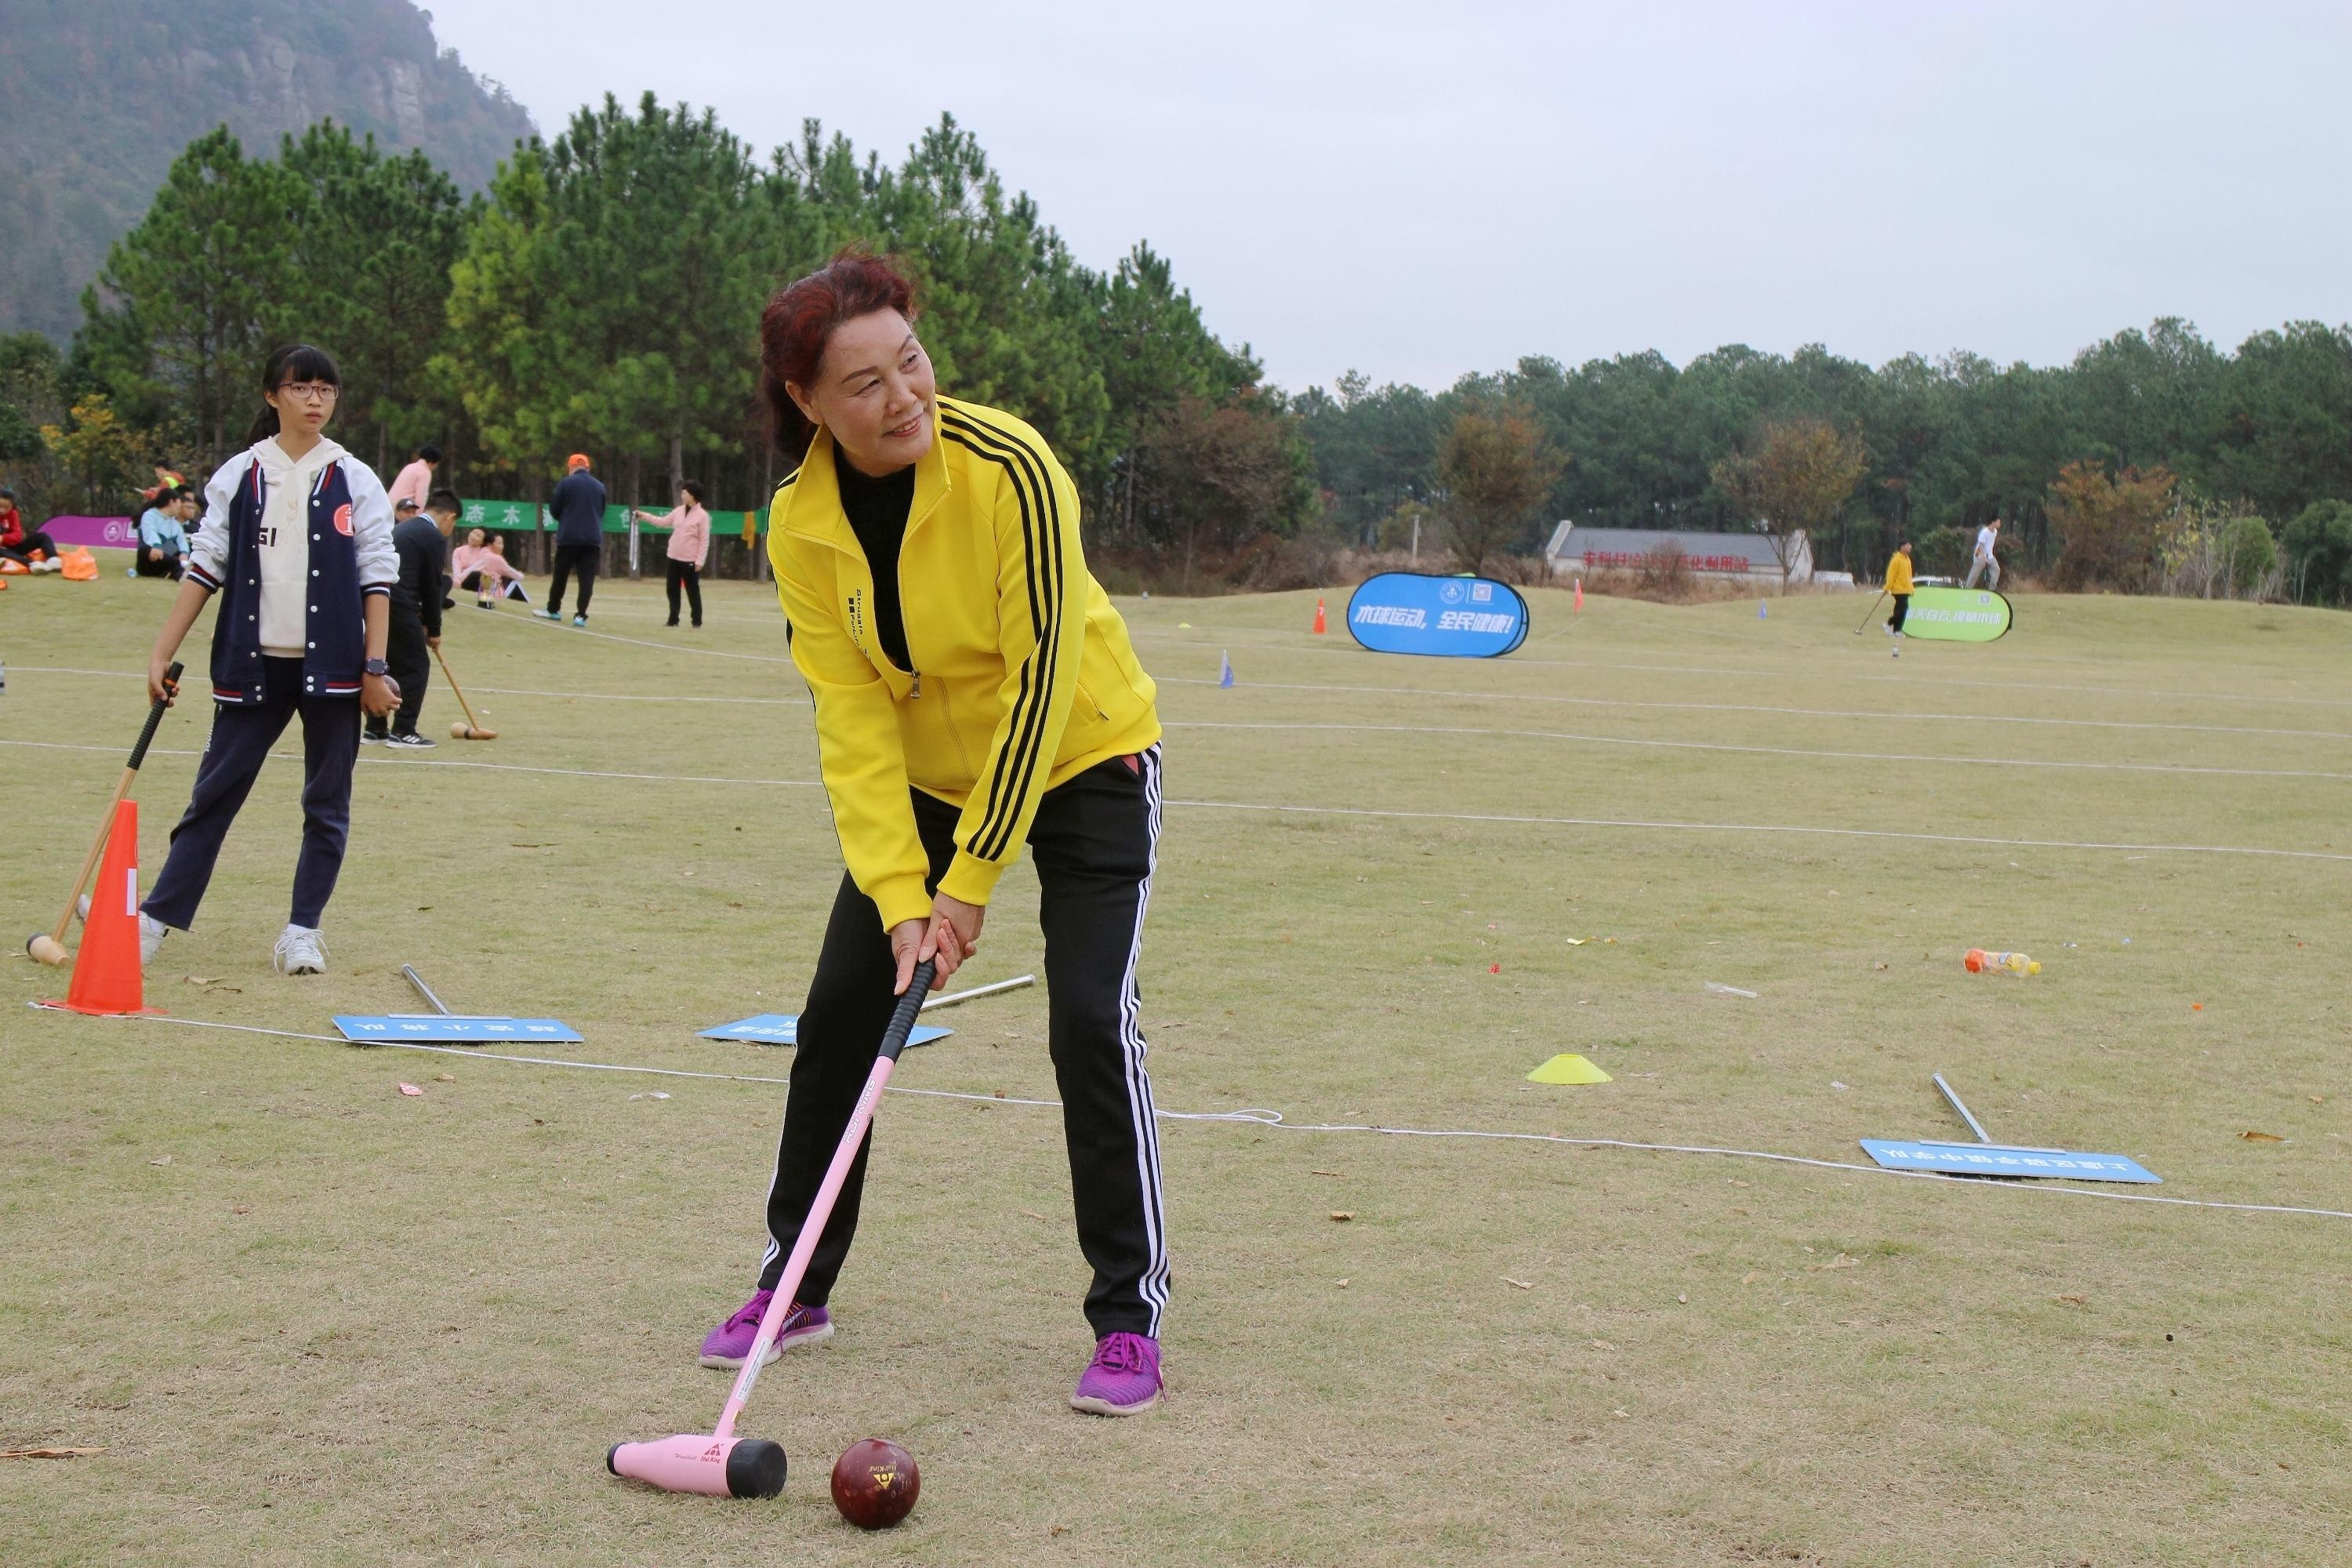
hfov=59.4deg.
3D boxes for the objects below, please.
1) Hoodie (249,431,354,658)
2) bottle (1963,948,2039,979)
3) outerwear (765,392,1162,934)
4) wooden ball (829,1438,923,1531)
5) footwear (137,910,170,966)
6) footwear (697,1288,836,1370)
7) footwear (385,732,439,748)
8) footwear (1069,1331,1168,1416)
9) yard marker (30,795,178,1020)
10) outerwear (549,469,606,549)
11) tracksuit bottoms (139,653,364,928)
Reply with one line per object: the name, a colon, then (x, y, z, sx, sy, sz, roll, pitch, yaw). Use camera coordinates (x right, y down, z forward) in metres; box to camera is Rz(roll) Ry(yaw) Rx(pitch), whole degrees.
Hoodie: (-3.397, -0.900, 7.979, 0.545, 0.760, 0.225, 2, -3, -4)
bottle: (3.621, 0.788, 9.063, 0.309, 0.128, 0.136, 3, 5, 42)
outerwear: (-0.540, -0.347, 5.321, 0.885, 1.329, 0.862, -2, 17, 16)
wooden ball: (-0.658, 1.560, 4.599, 0.183, 0.155, 0.190, 6, -25, 3)
footwear: (-3.901, 0.584, 7.849, 0.095, 0.226, 0.076, 6, 33, -35)
footwear: (-1.042, 1.387, 5.264, 0.147, 0.163, 0.354, -1, -3, 28)
footwear: (-5.445, -0.302, 14.693, 0.361, 0.163, 0.132, 1, 0, -4)
footwear: (-0.146, 1.438, 5.048, 0.226, 0.165, 0.130, 1, 10, -2)
yard marker: (-3.794, 0.445, 7.267, 0.328, 0.748, 0.295, -6, 12, -33)
outerwear: (-6.880, -3.156, 23.663, 0.515, 0.898, 0.850, -2, 11, -18)
tracksuit bottoms: (-3.528, 0.042, 8.067, 0.641, 0.340, 1.509, 6, 29, -19)
